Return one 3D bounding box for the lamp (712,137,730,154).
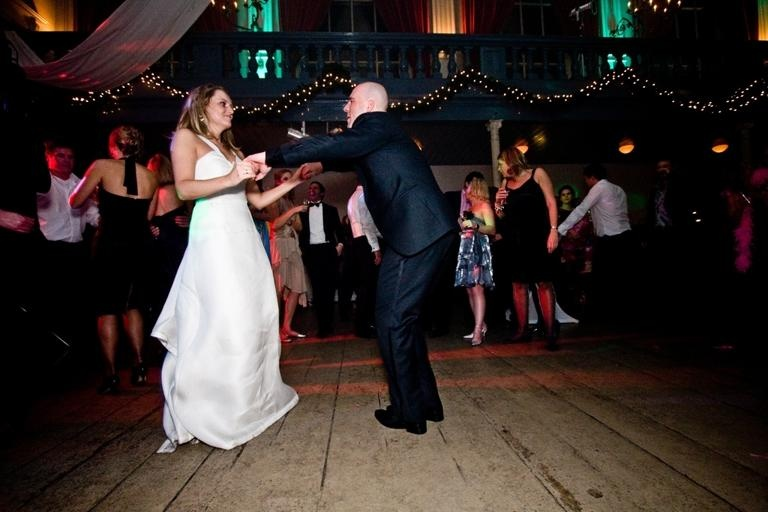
[{"bbox_3d":[6.542,-2.147,10.970,0.251,0.175,0.255,0,2,8],"label":"lamp"}]

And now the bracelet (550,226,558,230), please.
[{"bbox_3d":[1.782,-0.302,5.910,0.053,0.018,0.021,-23,41,-38],"label":"bracelet"}]

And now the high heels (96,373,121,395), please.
[{"bbox_3d":[-2.504,1.157,5.125,0.104,0.120,0.278,5,-5,-39],"label":"high heels"}]

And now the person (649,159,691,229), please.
[{"bbox_3d":[4.112,-0.907,8.095,0.500,0.925,0.382,0,7,25],"label":"person"}]

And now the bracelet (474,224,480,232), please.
[{"bbox_3d":[1.031,-0.309,6.235,0.050,0.047,0.049,-5,13,-44],"label":"bracelet"}]

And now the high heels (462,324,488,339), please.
[{"bbox_3d":[1.134,0.929,6.832,0.128,0.183,0.426,-8,-11,43],"label":"high heels"}]

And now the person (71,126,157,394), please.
[{"bbox_3d":[-2.427,0.000,5.250,0.398,2.395,0.676,2,7,33],"label":"person"}]

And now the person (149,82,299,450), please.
[{"bbox_3d":[-1.268,0.031,4.321,1.025,2.735,0.683,-4,6,-15],"label":"person"}]

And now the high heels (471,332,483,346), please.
[{"bbox_3d":[1.050,0.925,6.315,0.111,0.122,0.346,-3,-7,12],"label":"high heels"}]

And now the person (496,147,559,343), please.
[{"bbox_3d":[1.584,-0.124,6.168,0.352,2.121,0.799,-7,8,-39],"label":"person"}]

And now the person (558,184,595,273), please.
[{"bbox_3d":[2.579,-0.426,7.727,0.441,1.168,0.429,23,39,37],"label":"person"}]

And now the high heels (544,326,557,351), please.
[{"bbox_3d":[1.771,0.852,5.953,0.143,0.217,0.263,-1,6,17],"label":"high heels"}]

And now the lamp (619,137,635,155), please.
[{"bbox_3d":[5.509,-2.493,12.766,0.289,0.327,0.298,0,3,-17],"label":"lamp"}]
